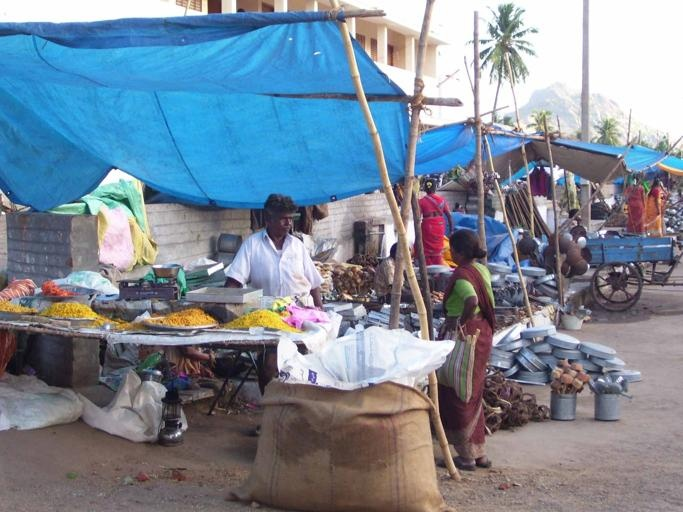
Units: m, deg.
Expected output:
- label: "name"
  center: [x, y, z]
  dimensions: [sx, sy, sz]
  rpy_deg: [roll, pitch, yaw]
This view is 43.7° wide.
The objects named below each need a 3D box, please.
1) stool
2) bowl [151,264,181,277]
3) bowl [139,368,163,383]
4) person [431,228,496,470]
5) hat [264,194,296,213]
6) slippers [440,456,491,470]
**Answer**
- label: "stool"
  center: [-1.170, 1.342, 9.418]
  dimensions: [0.636, 0.805, 0.675]
  rpy_deg: [12, 9, -17]
- label: "bowl"
  center: [-1.668, 0.145, 8.085]
  dimensions: [0.256, 0.130, 0.248]
  rpy_deg: [0, -3, 0]
- label: "bowl"
  center: [-1.953, 1.213, 8.684]
  dimensions: [0.179, 0.169, 0.132]
  rpy_deg: [2, 8, 2]
- label: "person"
  center: [1.139, 0.897, 8.034]
  dimensions: [0.635, 2.268, 0.768]
  rpy_deg: [2, 6, 20]
- label: "hat"
  center: [-0.600, -0.502, 8.286]
  dimensions: [0.188, 0.141, 0.223]
  rpy_deg: [1, -1, -41]
- label: "slippers"
  center: [1.185, 1.891, 7.750]
  dimensions: [0.344, 0.114, 0.195]
  rpy_deg: [-1, -3, 13]
